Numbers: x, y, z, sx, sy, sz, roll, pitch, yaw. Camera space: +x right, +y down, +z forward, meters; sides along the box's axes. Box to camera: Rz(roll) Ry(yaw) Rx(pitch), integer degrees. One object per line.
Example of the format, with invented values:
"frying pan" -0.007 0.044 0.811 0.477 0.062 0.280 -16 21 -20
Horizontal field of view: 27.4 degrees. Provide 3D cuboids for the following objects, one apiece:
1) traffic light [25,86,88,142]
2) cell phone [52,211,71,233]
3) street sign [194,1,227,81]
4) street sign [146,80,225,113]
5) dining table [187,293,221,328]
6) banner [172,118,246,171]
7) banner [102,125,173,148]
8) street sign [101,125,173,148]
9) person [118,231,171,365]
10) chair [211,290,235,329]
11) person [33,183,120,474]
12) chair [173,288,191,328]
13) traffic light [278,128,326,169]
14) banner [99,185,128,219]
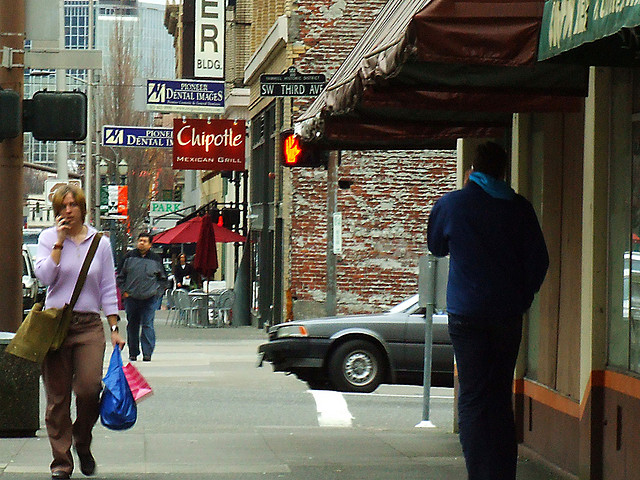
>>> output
"traffic light" -2.422 -1.157 12.125 0.390 0.655 0.395 6 7 35
"cell phone" -2.114 -0.140 10.608 0.115 0.174 0.052 -2 -9 1
"street sign" -2.742 -4.973 32.378 0.795 2.030 1.590 1 2 -5
"street sign" -2.920 -3.092 28.137 1.672 0.661 0.890 1 2 -9
"dining table" -2.525 1.539 28.350 0.678 0.745 0.698 -1 1 -15
"banner" -2.359 -2.005 27.549 1.558 1.193 0.031 0 20 -9
"banner" -4.166 -2.355 29.711 1.544 0.452 1.046 1 2 -7
"street sign" -4.187 -2.341 29.729 1.032 0.750 1.547 1 4 -16
"person" -2.623 0.855 18.989 0.606 1.884 0.684 3 2 40
"chair" -2.087 1.496 28.224 0.440 0.814 0.592 1 2 -6
"person" -2.035 0.729 10.770 0.765 2.267 0.826 3 6 -14
"chair" -2.967 1.454 27.915 0.413 0.742 0.485 10 -1 -33
"traffic light" -0.280 -1.097 16.333 0.762 0.746 0.433 0 -1 -10
"banner" -6.094 -1.117 38.358 0.917 0.901 0.710 -1 2 -16
